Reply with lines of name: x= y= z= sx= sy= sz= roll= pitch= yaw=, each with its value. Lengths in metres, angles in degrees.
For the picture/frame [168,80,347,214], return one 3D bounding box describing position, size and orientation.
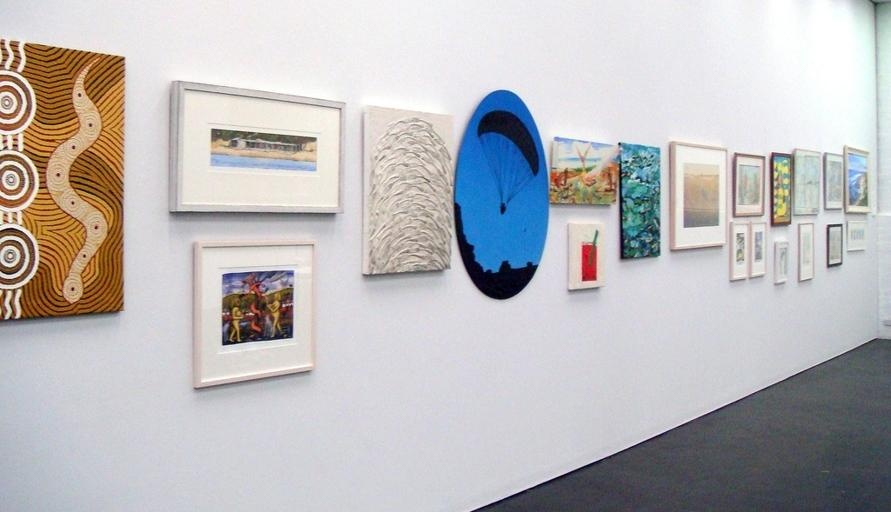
picture/frame: x=-1.535 y=-0.853 z=4.634 sx=1.083 sy=0.798 sz=0.081 roll=0 pitch=-1 yaw=-27
